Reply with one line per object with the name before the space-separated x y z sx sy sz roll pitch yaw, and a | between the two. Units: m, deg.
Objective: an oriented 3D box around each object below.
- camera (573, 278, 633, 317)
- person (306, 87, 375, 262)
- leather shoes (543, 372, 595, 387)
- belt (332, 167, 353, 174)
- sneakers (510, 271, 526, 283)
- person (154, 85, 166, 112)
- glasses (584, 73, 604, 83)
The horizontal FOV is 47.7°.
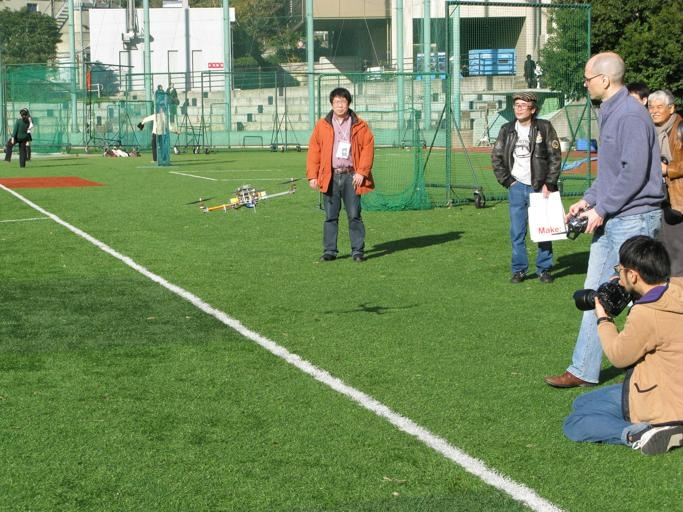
camera | 1.718 0.273 5.058 0.266 0.283 0.105 -19 -22 17
person | -0.022 -1.069 10.133 0.857 2.224 0.454 0 10 0
leather shoes | 1.763 0.949 5.972 0.373 0.181 0.142 3 -2 5
belt | 0.018 -1.121 10.069 0.246 0.081 0.071 0 11 -1
sneakers | 2.037 0.244 8.986 0.078 0.112 0.245 1 1 23
person | -6.145 -5.240 26.047 0.344 0.743 0.974 -3 12 -15
glasses | 1.870 -1.327 5.746 0.055 0.053 0.175 -4 13 -17
